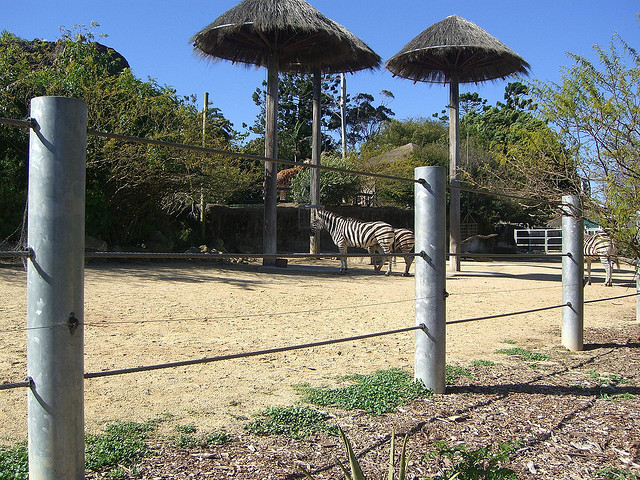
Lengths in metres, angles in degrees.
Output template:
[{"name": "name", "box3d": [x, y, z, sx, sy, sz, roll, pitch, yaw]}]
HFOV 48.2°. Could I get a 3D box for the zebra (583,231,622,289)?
[{"name": "zebra", "box3d": [5.340, 0.294, 13.962, 0.351, 1.266, 1.521, 2, -4, -9]}]
